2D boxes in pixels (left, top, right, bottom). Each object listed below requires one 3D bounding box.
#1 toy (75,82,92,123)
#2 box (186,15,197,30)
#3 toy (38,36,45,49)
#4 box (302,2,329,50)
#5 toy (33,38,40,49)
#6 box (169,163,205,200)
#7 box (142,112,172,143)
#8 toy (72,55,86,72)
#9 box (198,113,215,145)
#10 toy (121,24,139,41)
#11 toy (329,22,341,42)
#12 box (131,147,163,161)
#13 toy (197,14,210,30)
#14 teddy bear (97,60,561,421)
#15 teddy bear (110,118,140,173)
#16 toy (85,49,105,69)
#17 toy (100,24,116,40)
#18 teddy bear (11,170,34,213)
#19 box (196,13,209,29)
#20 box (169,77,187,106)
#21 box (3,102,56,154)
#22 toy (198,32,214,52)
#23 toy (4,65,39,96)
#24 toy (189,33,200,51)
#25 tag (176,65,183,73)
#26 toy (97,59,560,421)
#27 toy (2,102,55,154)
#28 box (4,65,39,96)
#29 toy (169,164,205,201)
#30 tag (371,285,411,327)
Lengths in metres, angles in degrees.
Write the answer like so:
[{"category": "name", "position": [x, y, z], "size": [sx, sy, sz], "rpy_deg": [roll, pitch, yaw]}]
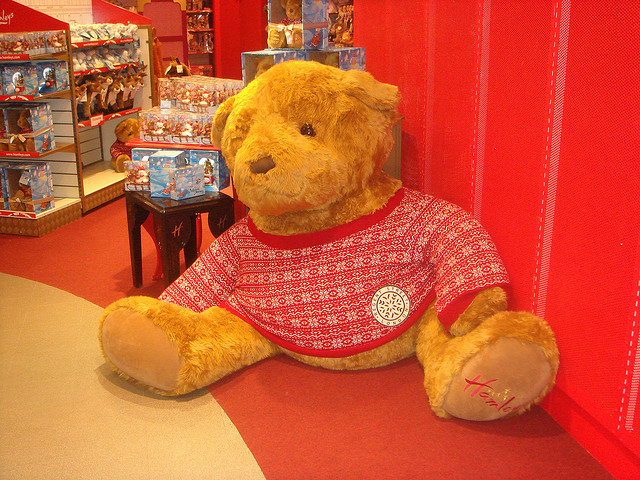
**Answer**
[{"category": "toy", "position": [-2.322, -1.416, 5.341], "size": [0.145, 0.219, 0.450], "rpy_deg": [-2, 24, -13]}, {"category": "box", "position": [-2.337, -3.992, 10.019], "size": [0.204, 0.300, 0.072], "rpy_deg": [-2, 6, -24]}, {"category": "toy", "position": [-2.300, -1.650, 4.515], "size": [0.017, 0.069, 0.041], "rpy_deg": [2, 8, 34]}, {"category": "box", "position": [-0.021, -1.101, 2.785], "size": [0.133, 0.227, 0.083], "rpy_deg": [-4, 23, -18]}, {"category": "toy", "position": [-2.310, -1.618, 4.459], "size": [0.041, 0.067, 0.024], "rpy_deg": [-6, -12, -13]}, {"category": "box", "position": [-0.700, -0.321, 3.040], "size": [0.195, 0.179, 0.069], "rpy_deg": [-10, -12, 18]}, {"category": "box", "position": [-1.012, -0.724, 3.343], "size": [0.214, 0.181, 0.215], "rpy_deg": [0, 28, -18]}, {"category": "toy", "position": [-2.336, -1.737, 5.317], "size": [0.106, 0.134, 0.265], "rpy_deg": [-6, 25, -21]}, {"category": "box", "position": [-0.682, -0.662, 3.245], "size": [0.094, 0.179, 0.097], "rpy_deg": [-3, 10, -29]}, {"category": "toy", "position": [-2.086, -2.316, 6.057], "size": [0.140, 0.083, 0.213], "rpy_deg": [-7, 10, -4]}, {"category": "toy", "position": [0.182, -2.478, 6.465], "size": [0.079, 0.213, 0.217], "rpy_deg": [-12, 27, -32]}, {"category": "box", "position": [-1.006, -0.509, 3.195], "size": [0.103, 0.101, 0.058], "rpy_deg": [2, 22, -3]}, {"category": "toy", "position": [-2.182, -4.109, 10.202], "size": [0.265, 0.253, 0.064], "rpy_deg": [-8, 13, -44]}, {"category": "teddy bear", "position": [0.045, -0.026, 2.277], "size": [1.750, 1.399, 0.971], "rpy_deg": [3, 23, 20]}, {"category": "teddy bear", "position": [-2.055, -1.028, 5.918], "size": [0.427, 0.519, 0.373], "rpy_deg": [-3, 29, -31]}, {"category": "toy", "position": [-2.297, -1.892, 5.608], "size": [0.145, 0.065, 0.244], "rpy_deg": [-18, 68, -36]}, {"category": "toy", "position": [-2.202, -2.203, 5.695], "size": [0.161, 0.167, 0.048], "rpy_deg": [-16, 2, -19]}, {"category": "teddy bear", "position": [-2.411, -0.355, 4.450], "size": [0.206, 0.208, 0.108], "rpy_deg": [6, 22, 7]}, {"category": "box", "position": [-2.197, -4.124, 10.192], "size": [0.290, 0.319, 0.182], "rpy_deg": [-12, 21, -26]}, {"category": "box", "position": [-0.919, -0.966, 3.452], "size": [0.135, 0.156, 0.136], "rpy_deg": [-2, 13, -10]}, {"category": "box", "position": [-2.332, -0.943, 4.549], "size": [0.481, 0.498, 0.358], "rpy_deg": [-2, 19, -27]}, {"category": "toy", "position": [-2.160, -3.773, 10.265], "size": [0.308, 0.393, 0.256], "rpy_deg": [-16, 23, -43]}, {"category": "toy", "position": [-2.398, -1.293, 4.374], "size": [0.238, 0.239, 0.076], "rpy_deg": [-7, 8, -34]}, {"category": "toy", "position": [-2.310, -3.707, 10.139], "size": [0.095, 0.293, 0.226], "rpy_deg": [18, 27, 32]}, {"category": "tag", "position": [-1.104, -1.371, 4.327], "size": [0.012, 0.052, 0.052], "rpy_deg": [1, 6, 41]}, {"category": "toy", "position": [0.037, -0.041, 2.289], "size": [1.791, 1.422, 0.960], "rpy_deg": [2, 23, 21]}, {"category": "toy", "position": [-2.402, -0.942, 4.499], "size": [0.279, 0.381, 0.267], "rpy_deg": [5, 22, 5]}, {"category": "box", "position": [-2.397, -1.292, 4.374], "size": [0.230, 0.231, 0.123], "rpy_deg": [-7, 11, -36]}, {"category": "toy", "position": [-0.741, -0.342, 3.046], "size": [0.073, 0.202, 0.222], "rpy_deg": [9, 16, 32]}, {"category": "tag", "position": [0.285, 0.255, 2.220], "size": [0.171, 0.176, 0.178], "rpy_deg": [0, 52, 1]}]
